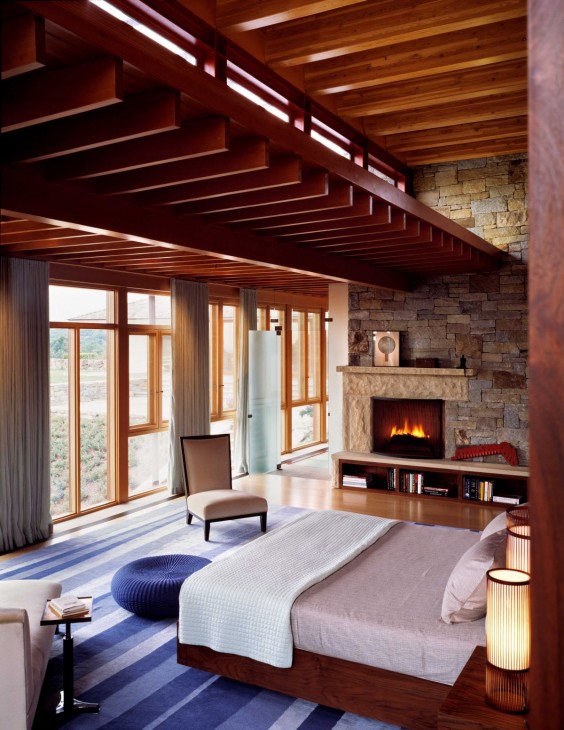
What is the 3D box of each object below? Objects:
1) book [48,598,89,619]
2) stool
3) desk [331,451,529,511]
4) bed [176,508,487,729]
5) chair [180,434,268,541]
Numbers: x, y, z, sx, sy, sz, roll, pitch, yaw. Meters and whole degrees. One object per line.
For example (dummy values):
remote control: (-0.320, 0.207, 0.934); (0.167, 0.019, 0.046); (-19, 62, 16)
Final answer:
book: (-1.055, 1.214, 2.889); (0.107, 0.025, 0.102); (2, 1, 43)
stool: (-0.860, 1.474, 4.005); (0.506, 0.179, 0.504); (1, 3, 4)
desk: (1.827, 1.404, 7.197); (2.276, 0.591, 0.441); (-4, -3, 27)
bed: (0.515, 1.415, 3.609); (1.636, 0.528, 1.928); (-4, -3, 25)
chair: (-0.645, 1.193, 5.856); (0.654, 0.896, 0.759); (0, -3, -33)
